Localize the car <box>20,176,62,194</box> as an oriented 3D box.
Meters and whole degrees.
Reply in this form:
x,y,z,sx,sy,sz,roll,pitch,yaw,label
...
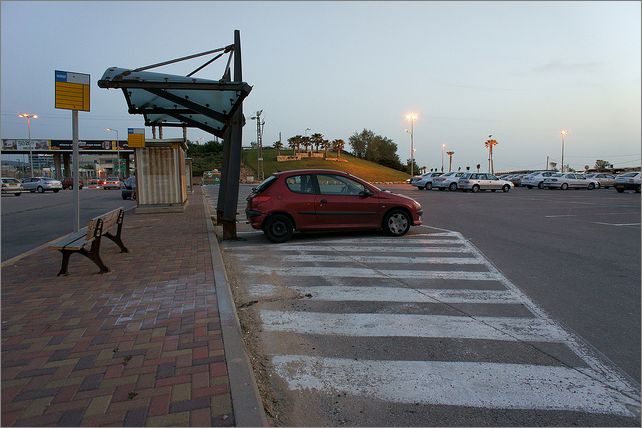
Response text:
x,y,z,sx,sy,sz,roll,pitch,yaw,label
-29.251,-2.979,45.389,4.470,1.402,1.927,7,9,16,car

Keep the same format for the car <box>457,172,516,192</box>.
x,y,z,sx,sy,sz,roll,pitch,yaw,label
13.465,-2.581,36.147,4.159,1.566,1.388,-2,10,-17,car
